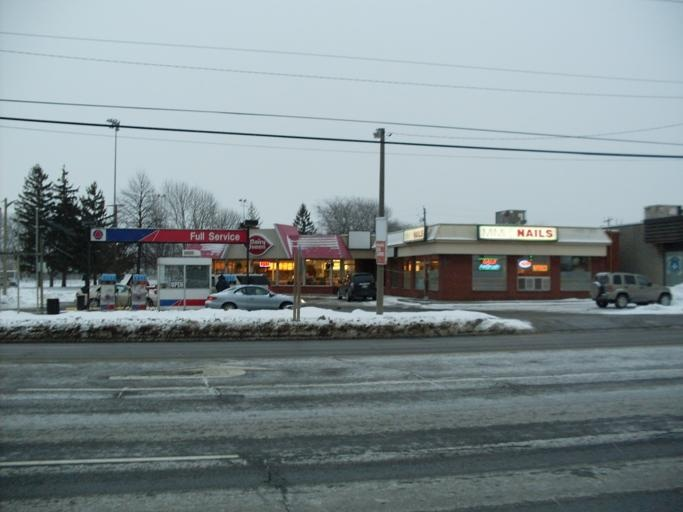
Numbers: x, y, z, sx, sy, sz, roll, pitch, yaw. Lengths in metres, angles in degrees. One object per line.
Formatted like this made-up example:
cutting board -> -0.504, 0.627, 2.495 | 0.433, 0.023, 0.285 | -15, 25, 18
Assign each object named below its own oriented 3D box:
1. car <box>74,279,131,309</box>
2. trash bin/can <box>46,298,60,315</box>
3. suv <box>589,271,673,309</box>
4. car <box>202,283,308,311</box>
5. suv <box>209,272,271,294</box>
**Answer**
car -> -11.341, 1.791, 40.924 | 2.605, 1.075, 1.220 | -2, 1, -11
trash bin/can -> -11.892, 2.085, 35.673 | 0.617, 0.686, 0.635 | 1, -2, 6
suv -> 12.885, 1.515, 38.601 | 3.162, 1.471, 1.576 | -2, 1, -9
car -> -3.499, 1.711, 34.292 | 3.161, 1.088, 1.463 | -2, -3, -10
suv -> -5.390, 1.260, 45.913 | 2.777, 1.397, 1.734 | 0, -1, -2
